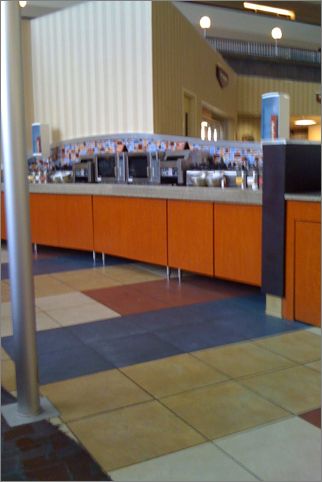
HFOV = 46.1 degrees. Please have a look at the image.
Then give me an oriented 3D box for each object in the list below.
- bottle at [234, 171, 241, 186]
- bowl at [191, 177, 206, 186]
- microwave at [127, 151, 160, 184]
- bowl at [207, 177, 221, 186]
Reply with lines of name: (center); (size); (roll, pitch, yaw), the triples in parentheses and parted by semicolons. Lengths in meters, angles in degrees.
bottle: (0.949, -0.770, 4.622); (0.053, 0.166, 0.103); (3, 4, 39)
bowl: (0.405, -0.626, 4.020); (0.142, 0.098, 0.086); (0, 3, 3)
microwave: (-0.376, -1.132, 5.988); (0.608, 0.475, 0.396); (-7, 8, -28)
bowl: (0.566, -0.612, 3.976); (0.080, 0.107, 0.087); (1, 2, 0)
